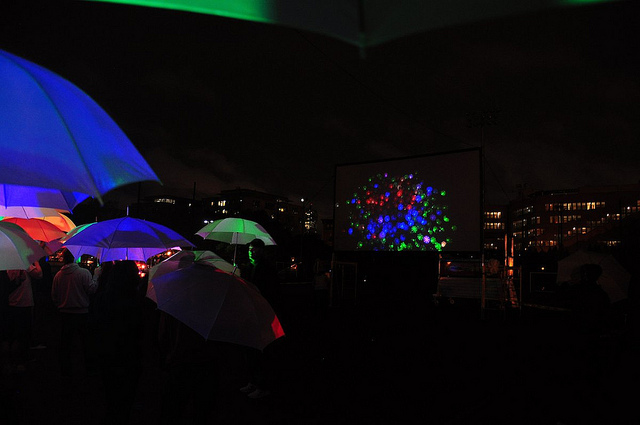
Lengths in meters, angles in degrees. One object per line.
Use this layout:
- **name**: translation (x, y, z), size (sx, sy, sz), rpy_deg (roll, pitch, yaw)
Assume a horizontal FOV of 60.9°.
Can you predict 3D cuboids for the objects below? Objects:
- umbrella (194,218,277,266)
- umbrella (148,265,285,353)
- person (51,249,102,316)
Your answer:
- **umbrella**: translation (-2.770, 0.883, 17.077), size (1.836, 1.621, 1.847), rpy_deg (-6, 5, -42)
- **umbrella**: translation (-2.074, 1.855, 11.602), size (2.915, 1.296, 2.780), rpy_deg (19, 11, -22)
- **person**: translation (-6.374, 1.801, 14.091), size (1.019, 1.612, 0.761), rpy_deg (-1, 6, -16)
